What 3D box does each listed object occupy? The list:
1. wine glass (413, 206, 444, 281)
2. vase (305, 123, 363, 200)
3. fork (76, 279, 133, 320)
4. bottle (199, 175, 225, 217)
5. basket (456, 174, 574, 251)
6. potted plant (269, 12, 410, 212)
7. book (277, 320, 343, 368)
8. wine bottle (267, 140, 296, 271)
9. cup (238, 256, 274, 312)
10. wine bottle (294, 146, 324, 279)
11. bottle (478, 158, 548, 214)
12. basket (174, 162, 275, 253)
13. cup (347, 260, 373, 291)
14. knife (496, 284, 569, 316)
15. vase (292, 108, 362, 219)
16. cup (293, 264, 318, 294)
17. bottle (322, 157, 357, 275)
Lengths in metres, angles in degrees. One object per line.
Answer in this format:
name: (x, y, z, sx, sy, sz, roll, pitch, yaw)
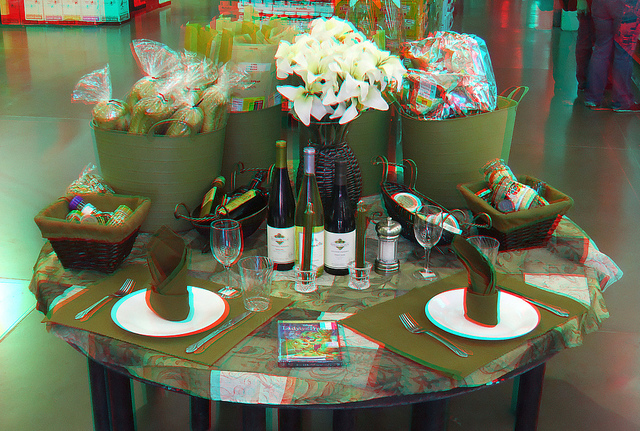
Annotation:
wine glass: (0.364, 0.080, 1.446, 0.092, 0.227, 0.196, 5, 14, 16)
vase: (0.048, -0.187, 1.477, 0.237, 0.305, 0.220, -5, 10, -12)
fork: (-0.622, 0.243, 1.252, 0.040, 0.034, 0.235, 14, 28, 27)
bottle: (-0.398, -0.073, 1.581, 0.056, 0.051, 0.190, 6, 36, 9)
basket: (0.677, -0.009, 1.525, 0.325, 0.236, 0.255, -3, 14, -12)
potted plant: (0.094, -0.372, 1.599, 0.545, 0.650, 0.617, -1, 14, -7)
book: (-0.028, 0.337, 1.135, 0.166, 0.051, 0.151, 0, 13, -4)
wine bottle: (-0.132, -0.037, 1.442, 0.095, 0.425, 0.177, -1, 14, -5)
cup: (-0.203, 0.218, 1.285, 0.138, 0.160, 0.127, -7, -21, -3)
wine bottle: (-0.017, 0.003, 1.401, 0.111, 0.413, 0.097, 8, 15, 40)
bottle: (0.664, -0.064, 1.527, 0.163, 0.092, 0.224, -19, 51, -15)
basket: (-0.355, 0.008, 1.555, 0.344, 0.144, 0.337, -21, 31, -37)
cup: (0.125, 0.197, 1.406, 0.097, 0.082, 0.101, 0, -2, 0)
knife: (0.623, 0.250, 1.266, 0.199, 0.037, 0.047, 10, 17, 36)
vase: (0.036, -0.206, 1.502, 0.169, 0.464, 0.164, -2, 22, -5)
cup: (-0.049, 0.196, 1.365, 0.081, 0.070, 0.085, 0, 11, 0)
bottle: (0.073, -0.010, 1.455, 0.111, 0.384, 0.225, 2, 14, 5)
